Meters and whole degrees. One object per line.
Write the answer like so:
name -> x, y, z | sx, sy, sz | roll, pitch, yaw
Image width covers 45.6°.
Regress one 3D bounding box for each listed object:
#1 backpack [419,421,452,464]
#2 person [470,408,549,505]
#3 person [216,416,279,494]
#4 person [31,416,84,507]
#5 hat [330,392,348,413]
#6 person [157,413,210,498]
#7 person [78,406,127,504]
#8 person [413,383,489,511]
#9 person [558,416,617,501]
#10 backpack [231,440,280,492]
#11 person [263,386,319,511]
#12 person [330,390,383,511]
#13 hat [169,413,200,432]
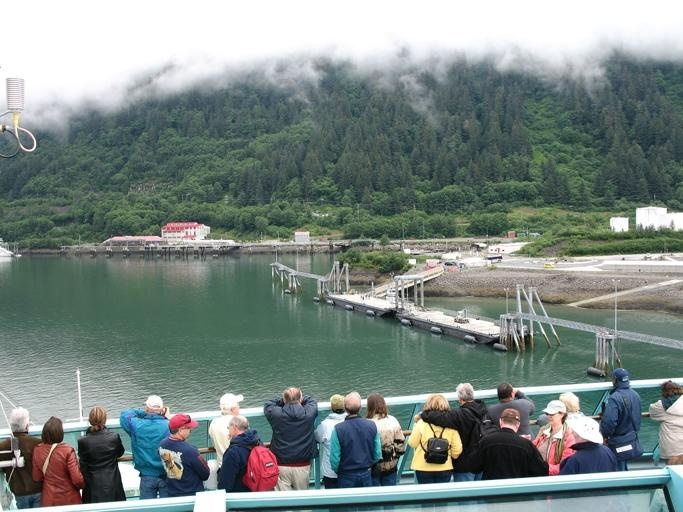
backpack -> 1.511, 2.940, 12.708 | 0.508, 0.610, 0.405 | 0, 7, -26
person -> 2.486, 2.774, 11.983 | 1.025, 0.994, 0.308 | -2, 3, 6
person -> -1.450, 3.051, 12.263 | 0.766, 1.302, 0.938 | 16, 21, 38
person -> -4.316, 3.119, 12.265 | 0.758, 1.335, 0.340 | -3, 3, -11
hat -> -0.051, 2.385, 13.230 | 0.229, 0.281, 0.285 | 1, 12, 2
person -> -2.415, 3.045, 12.391 | 0.730, 1.245, 0.348 | -4, 3, -13
person -> -3.685, 3.060, 12.405 | 0.674, 1.440, 0.496 | -4, 3, -18
person -> 1.850, 3.378, 13.214 | 1.104, 2.482, 1.243 | -2, -7, 26
person -> 3.599, 2.816, 11.878 | 0.777, 0.818, 0.551 | -3, 3, 2
backpack -> -1.197, 3.223, 12.263 | 0.351, 0.629, 0.479 | 14, 10, 42
person -> -0.797, 3.383, 13.166 | 0.827, 2.343, 0.764 | 0, 4, -11
person -> 0.226, 2.929, 12.733 | 0.721, 1.486, 0.545 | -5, 4, -37
hat -> -2.430, 2.532, 12.428 | 0.370, 0.210, 0.237 | 0, 7, -30
